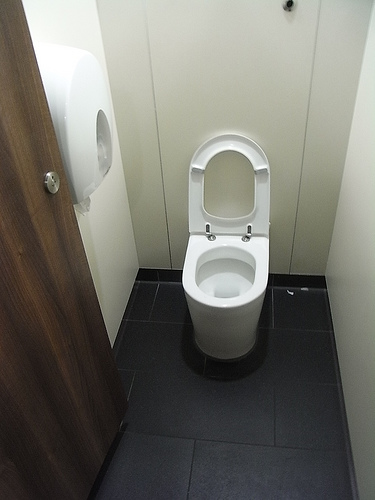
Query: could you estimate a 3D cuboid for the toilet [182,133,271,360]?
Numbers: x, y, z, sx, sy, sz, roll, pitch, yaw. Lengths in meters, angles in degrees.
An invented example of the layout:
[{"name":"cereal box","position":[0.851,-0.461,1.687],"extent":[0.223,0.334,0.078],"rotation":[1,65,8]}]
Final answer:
[{"name":"toilet","position":[0.184,-0.008,1.746],"extent":[0.475,0.997,0.730],"rotation":[3,32,13]}]
